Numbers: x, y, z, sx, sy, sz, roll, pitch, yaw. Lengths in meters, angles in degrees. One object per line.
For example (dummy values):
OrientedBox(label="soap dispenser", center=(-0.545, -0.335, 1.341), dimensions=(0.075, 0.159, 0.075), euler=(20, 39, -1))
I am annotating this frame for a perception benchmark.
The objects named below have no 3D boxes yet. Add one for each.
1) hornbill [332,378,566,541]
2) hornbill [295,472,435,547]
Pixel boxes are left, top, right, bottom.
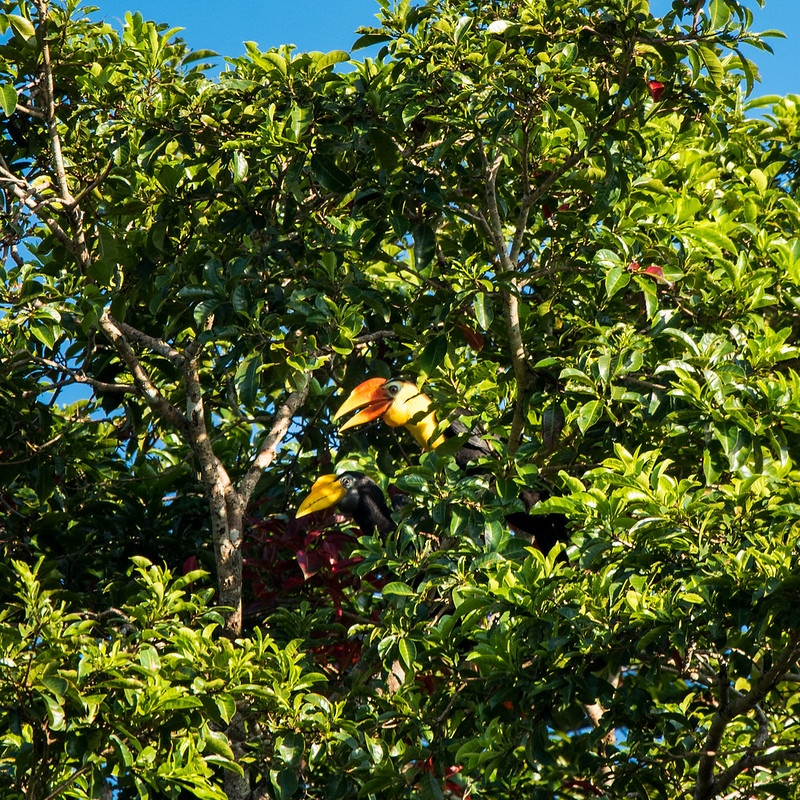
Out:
OrientedBox(label="hornbill", center=(0.145, 0.168, 8.768), dimensions=(0.954, 0.365, 0.387), euler=(17, -5, -33))
OrientedBox(label="hornbill", center=(-0.248, 0.443, 8.650), dimensions=(0.514, 0.293, 0.153), euler=(10, -13, -38))
